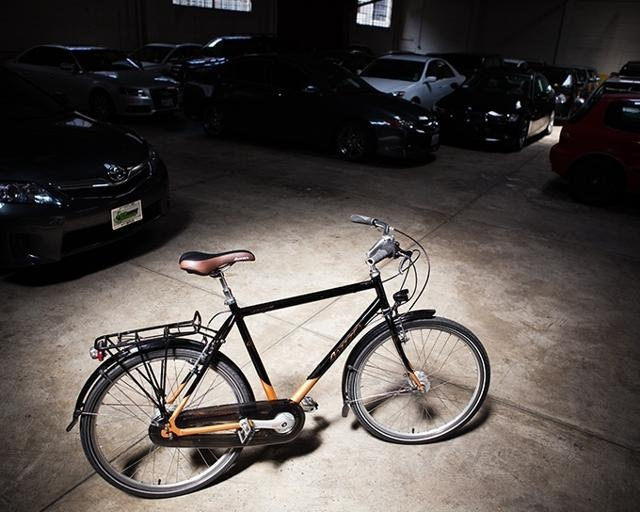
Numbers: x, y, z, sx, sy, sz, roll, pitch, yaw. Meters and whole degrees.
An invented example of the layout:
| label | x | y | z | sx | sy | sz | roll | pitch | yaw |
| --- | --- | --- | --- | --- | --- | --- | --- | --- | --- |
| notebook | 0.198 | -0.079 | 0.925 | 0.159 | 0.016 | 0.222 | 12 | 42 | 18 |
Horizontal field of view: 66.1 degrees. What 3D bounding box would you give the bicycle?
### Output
| label | x | y | z | sx | sy | sz | roll | pitch | yaw |
| --- | --- | --- | --- | --- | --- | --- | --- | --- | --- |
| bicycle | -0.321 | 0.508 | 3.231 | 2.983 | 1.541 | 1.118 | -8 | 12 | -7 |
